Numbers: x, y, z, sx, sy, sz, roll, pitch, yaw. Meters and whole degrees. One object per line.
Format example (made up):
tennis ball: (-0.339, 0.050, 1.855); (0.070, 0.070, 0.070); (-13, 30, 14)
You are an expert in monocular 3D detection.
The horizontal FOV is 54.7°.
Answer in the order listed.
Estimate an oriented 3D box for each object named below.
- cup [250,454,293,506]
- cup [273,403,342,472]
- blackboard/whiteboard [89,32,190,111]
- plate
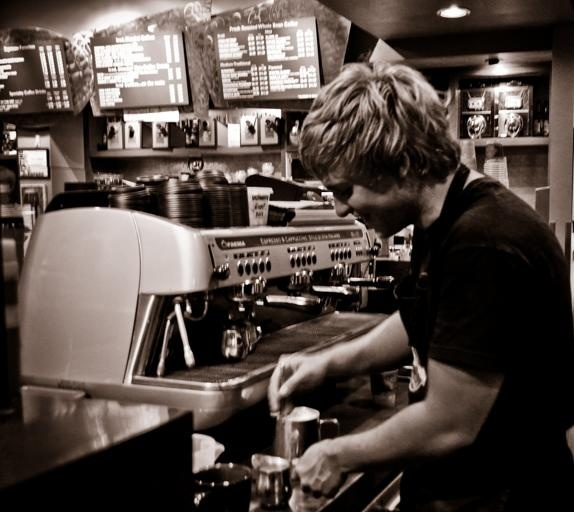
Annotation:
cup: (-0.033, 0.524, 1.306); (0.066, 0.117, 0.103); (-1, -5, 5)
cup: (0.053, 0.476, 1.470); (0.149, 0.188, 0.106); (0, 0, 1)
blackboard/whiteboard: (-1.467, -1.841, 5.473); (1.087, 0.723, 0.088); (2, 8, 23)
plate: (-0.345, -0.184, 1.868); (0.344, 0.199, 0.423); (0, 9, 13)
